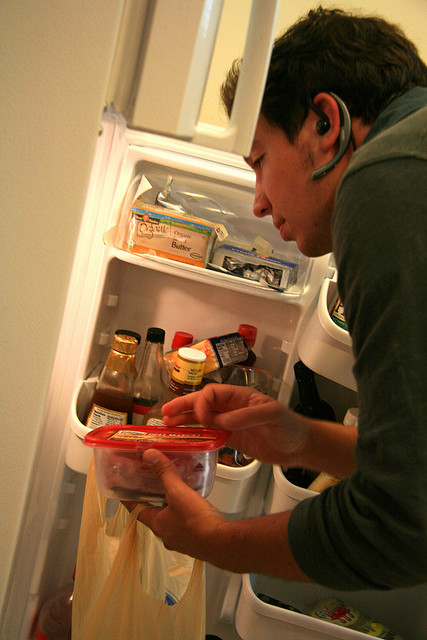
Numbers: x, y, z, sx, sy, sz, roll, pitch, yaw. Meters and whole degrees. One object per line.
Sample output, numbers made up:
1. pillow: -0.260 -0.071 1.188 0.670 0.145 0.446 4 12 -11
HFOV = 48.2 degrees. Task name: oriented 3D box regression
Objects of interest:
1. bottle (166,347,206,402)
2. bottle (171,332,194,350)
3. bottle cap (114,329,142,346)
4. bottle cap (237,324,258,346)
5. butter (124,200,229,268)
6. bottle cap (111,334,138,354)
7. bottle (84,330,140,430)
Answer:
1. bottle: -0.048 0.098 0.828 0.048 0.119 0.047 11 29 -7
2. bottle: -0.074 0.037 1.097 0.039 0.039 0.040 15 15 -5
3. bottle cap: -0.192 0.028 1.067 0.048 0.029 0.049 12 9 25
4. bottle cap: 0.080 0.030 1.116 0.043 0.043 0.044 -3 32 -24
5. butter: -0.072 -0.192 1.153 0.262 0.131 0.210 17 12 0
6. bottle cap: -0.163 0.043 0.878 0.037 0.033 0.038 6 12 -17
7. bottle: -0.210 0.126 0.975 0.082 0.203 0.085 11 36 -8
